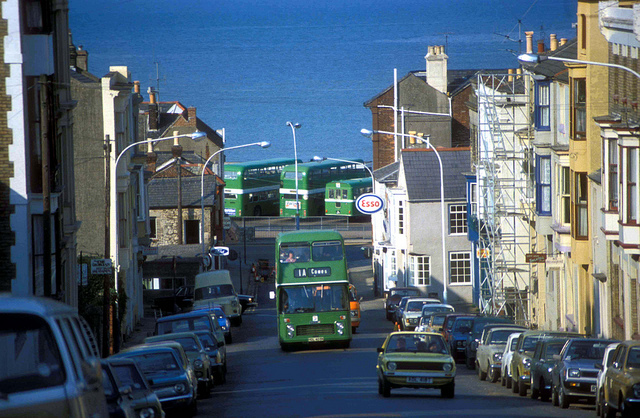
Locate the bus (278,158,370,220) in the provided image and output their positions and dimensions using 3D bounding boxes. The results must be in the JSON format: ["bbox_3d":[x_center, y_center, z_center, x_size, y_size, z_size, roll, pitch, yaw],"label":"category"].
[{"bbox_3d":[0.126,-1.689,139.530,2.879,4.823,14.560,4,-1,-21],"label":"bus"}]

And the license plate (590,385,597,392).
[{"bbox_3d":[11.304,7.362,64.311,0.288,0.266,0.073,1,-7,9],"label":"license plate"}]

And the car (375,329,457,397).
[{"bbox_3d":[4.117,6.537,68.057,3.148,2.593,5.810,1,0,-2],"label":"car"}]
